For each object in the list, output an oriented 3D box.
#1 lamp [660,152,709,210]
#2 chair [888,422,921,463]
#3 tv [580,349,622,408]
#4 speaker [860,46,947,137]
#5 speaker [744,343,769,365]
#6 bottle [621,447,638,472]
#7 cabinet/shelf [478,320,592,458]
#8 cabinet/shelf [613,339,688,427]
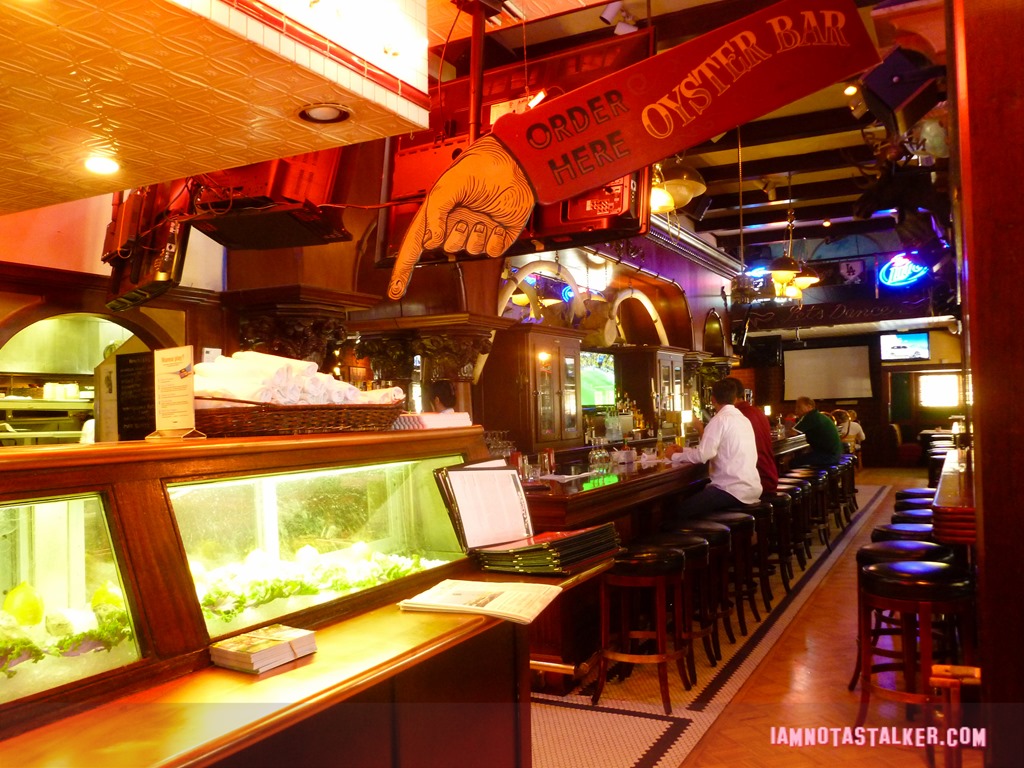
[{"bbox_3d":[1.494,-1.802,6.558,0.347,0.370,0.516,-1,-1,12],"label":"lamp"},{"bbox_3d":[9.911,1.480,18.908,0.548,0.923,0.538,-10,30,28],"label":"chair"},{"bbox_3d":[1.328,-0.086,11.402,0.032,0.608,0.884,-7,2,29],"label":"tv"},{"bbox_3d":[2.221,-1.678,4.255,0.428,0.473,0.483,-1,-1,25],"label":"speaker"},{"bbox_3d":[6.190,-0.765,18.931,0.239,0.484,0.848,-1,-1,-25],"label":"speaker"},{"bbox_3d":[0.935,0.591,5.791,0.132,0.237,0.134,-2,-11,0],"label":"bottle"},{"bbox_3d":[0.227,0.034,8.865,0.681,1.094,1.181,-1,-1,35],"label":"cabinet/shelf"},{"bbox_3d":[2.087,-0.043,11.594,0.551,1.219,1.336,-7,-9,36],"label":"cabinet/shelf"}]
